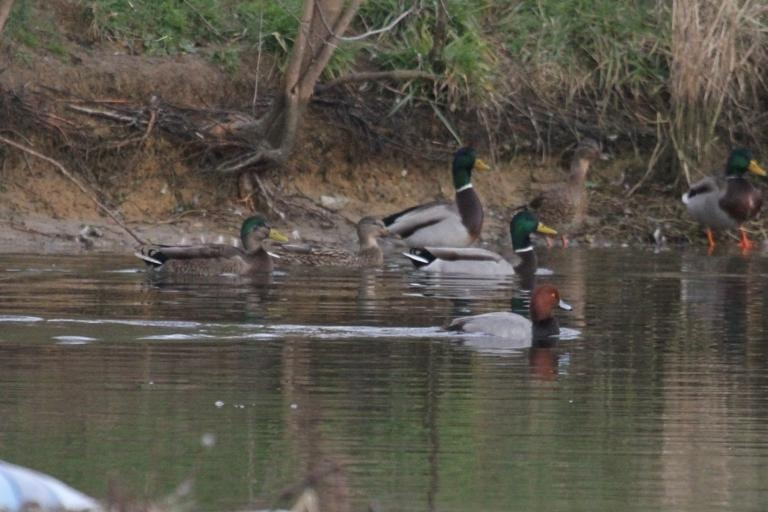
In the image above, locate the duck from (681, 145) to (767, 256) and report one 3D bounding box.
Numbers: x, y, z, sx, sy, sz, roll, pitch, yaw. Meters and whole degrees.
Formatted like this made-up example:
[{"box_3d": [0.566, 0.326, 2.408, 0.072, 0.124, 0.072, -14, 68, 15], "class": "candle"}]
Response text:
[{"box_3d": [6.123, -0.981, 21.165, 1.289, 1.780, 1.465, 3, 9, 22], "class": "duck"}]
